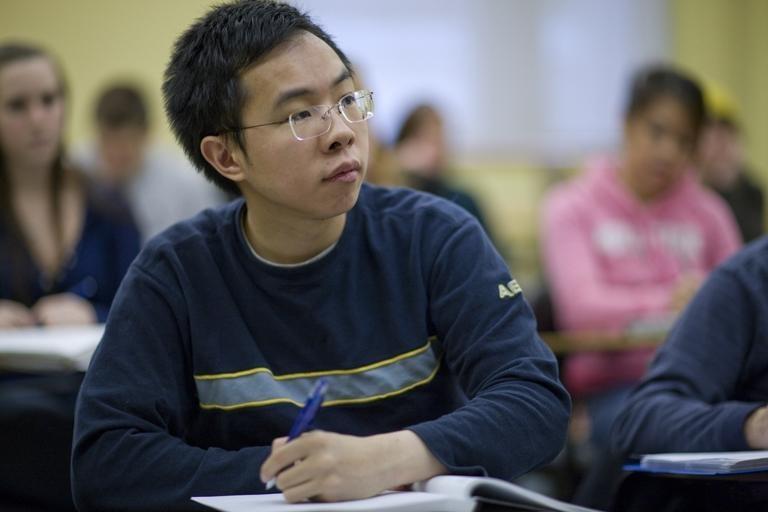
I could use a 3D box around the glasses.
[{"bbox_3d":[-0.145,-0.276,1.812,0.268,0.085,0.102,-7,15,-7],"label":"glasses"}]
